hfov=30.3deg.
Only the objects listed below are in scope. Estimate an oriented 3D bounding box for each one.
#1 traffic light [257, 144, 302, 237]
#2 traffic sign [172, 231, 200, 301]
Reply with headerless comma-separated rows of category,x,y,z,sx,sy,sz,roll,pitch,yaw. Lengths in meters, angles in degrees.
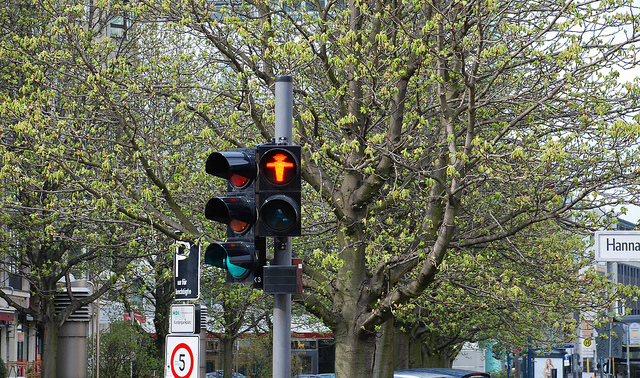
traffic light,-1.273,0.033,36.685,0.985,3.223,1.108,-2,-1,8
traffic sign,-4.532,2.736,40.082,0.833,2.021,0.598,3,-13,-10
